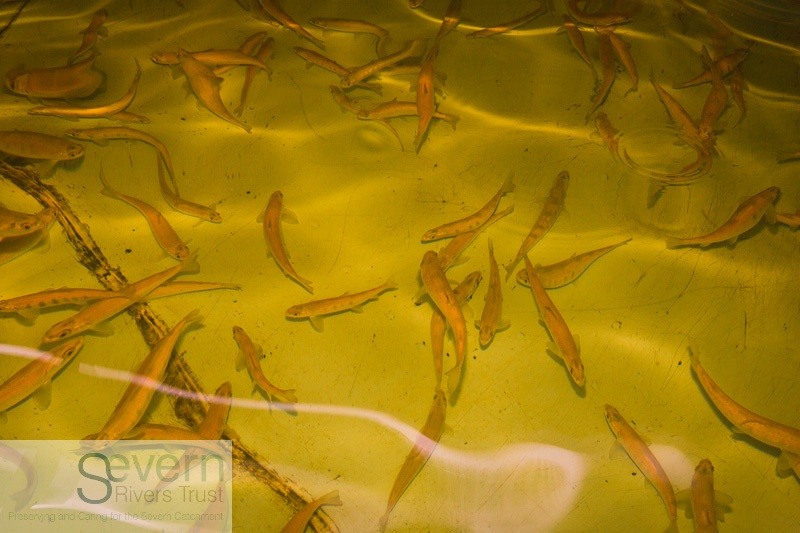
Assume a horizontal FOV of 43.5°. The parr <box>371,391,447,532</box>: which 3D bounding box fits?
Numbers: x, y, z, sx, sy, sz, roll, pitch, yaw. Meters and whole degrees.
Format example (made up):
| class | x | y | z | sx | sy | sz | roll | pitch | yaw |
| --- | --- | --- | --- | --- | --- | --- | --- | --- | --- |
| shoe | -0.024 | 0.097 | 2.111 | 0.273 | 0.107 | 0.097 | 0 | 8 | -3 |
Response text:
| class | x | y | z | sx | sy | sz | roll | pitch | yaw |
| --- | --- | --- | --- | --- | --- | --- | --- | --- | --- |
| parr | 0.059 | 1.221 | 6.142 | 0.108 | 0.128 | 0.806 | 21 | 85 | 2 |
